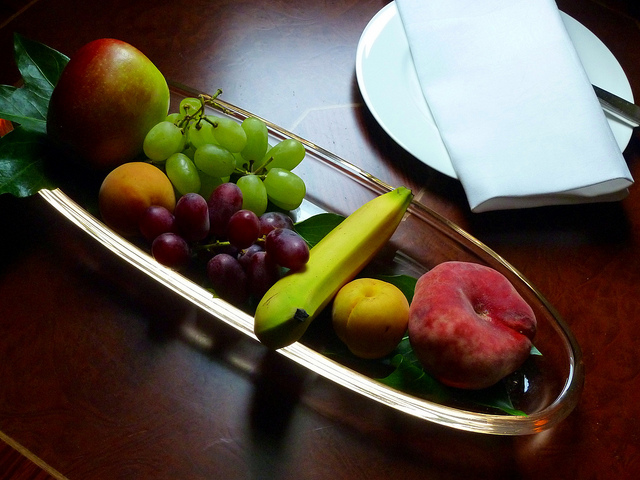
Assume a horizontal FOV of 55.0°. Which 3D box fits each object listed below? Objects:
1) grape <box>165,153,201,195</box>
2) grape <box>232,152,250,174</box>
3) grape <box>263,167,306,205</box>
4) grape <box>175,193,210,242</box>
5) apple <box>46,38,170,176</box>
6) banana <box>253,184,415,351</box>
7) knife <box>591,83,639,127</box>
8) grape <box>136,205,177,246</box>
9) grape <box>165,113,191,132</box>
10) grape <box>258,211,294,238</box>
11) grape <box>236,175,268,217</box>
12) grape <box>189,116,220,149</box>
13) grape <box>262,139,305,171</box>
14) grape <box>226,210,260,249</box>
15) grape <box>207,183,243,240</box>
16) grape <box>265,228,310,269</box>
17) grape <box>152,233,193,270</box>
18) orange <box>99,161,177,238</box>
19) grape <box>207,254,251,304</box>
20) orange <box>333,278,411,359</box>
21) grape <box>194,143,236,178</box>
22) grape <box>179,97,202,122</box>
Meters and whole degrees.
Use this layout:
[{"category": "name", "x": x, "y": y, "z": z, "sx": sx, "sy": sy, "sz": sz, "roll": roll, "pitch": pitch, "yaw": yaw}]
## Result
[{"category": "grape", "x": -0.180, "y": -0.085, "z": 0.802, "sx": 0.029, "sy": 0.032, "sz": 0.059, "roll": -27, "pitch": 102, "yaw": -32}, {"category": "grape", "x": -0.109, "y": -0.104, "z": 0.843, "sx": 0.021, "sy": 0.024, "sz": 0.016, "roll": -56, "pitch": 30, "yaw": 18}, {"category": "grape", "x": -0.047, "y": -0.073, "z": 0.831, "sx": 0.041, "sy": 0.046, "sz": 0.049, "roll": -26, "pitch": 42, "yaw": -35}, {"category": "grape", "x": -0.155, "y": -0.027, "z": 0.758, "sx": 0.034, "sy": 0.058, "sz": 0.040, "roll": -7, "pitch": 26, "yaw": -3}, {"category": "apple", "x": -0.299, "y": -0.184, "z": 0.890, "sx": 0.162, "sy": 0.167, "sz": 0.153, "roll": 30, "pitch": 46, "yaw": 31}, {"category": "banana", "x": 0.017, "y": 0.021, "z": 0.755, "sx": 0.061, "sy": 0.080, "sz": 0.275, "roll": 34, "pitch": 75, "yaw": 20}, {"category": "knife", "x": 0.447, "y": -0.202, "z": 0.937, "sx": 0.027, "sy": 0.015, "sz": 0.100, "roll": -44, "pitch": 64, "yaw": -7}, {"category": "grape", "x": -0.205, "y": -0.020, "z": 0.763, "sx": 0.039, "sy": 0.046, "sz": 0.044, "roll": 24, "pitch": 38, "yaw": 30}, {"category": "grape", "x": -0.198, "y": -0.166, "z": 0.859, "sx": 0.031, "sy": 0.026, "sz": 0.020, "roll": 27, "pitch": 94, "yaw": -15}, {"category": "grape", "x": -0.058, "y": -0.018, "z": 0.792, "sx": 0.037, "sy": 0.029, "sz": 0.034, "roll": -1, "pitch": 91, "yaw": 40}, {"category": "grape", "x": -0.088, "y": -0.056, "z": 0.818, "sx": 0.034, "sy": 0.054, "sz": 0.039, "roll": -13, "pitch": 18, "yaw": 3}, {"category": "grape", "x": -0.165, "y": -0.146, "z": 0.836, "sx": 0.025, "sy": 0.037, "sz": 0.032, "roll": 7, "pitch": 85, "yaw": -9}, {"category": "grape", "x": -0.049, "y": -0.120, "z": 0.874, "sx": 0.037, "sy": 0.075, "sz": 0.046, "roll": 2, "pitch": 90, "yaw": -36}, {"category": "grape", "x": -0.097, "y": -0.021, "z": 0.773, "sx": 0.037, "sy": 0.055, "sz": 0.039, "roll": -10, "pitch": 22, "yaw": -39}, {"category": "grape", "x": -0.122, "y": -0.039, "z": 0.770, "sx": 0.045, "sy": 0.064, "sz": 0.060, "roll": 2, "pitch": 37, "yaw": 4}, {"category": "grape", "x": -0.038, "y": 0.012, "z": 0.725, "sx": 0.050, "sy": 0.037, "sz": 0.032, "roll": 36, "pitch": 104, "yaw": 25}, {"category": "grape", "x": -0.188, "y": 0.015, "z": 0.768, "sx": 0.053, "sy": 0.045, "sz": 0.052, "roll": 9, "pitch": 105, "yaw": 5}, {"category": "orange", "x": -0.226, "y": -0.054, "z": 0.813, "sx": 0.063, "sy": 0.072, "sz": 0.082, "roll": 3, "pitch": 78, "yaw": -33}, {"category": "grape", "x": -0.111, "y": 0.048, "z": 0.751, "sx": 0.044, "sy": 0.038, "sz": 0.056, "roll": -31, "pitch": 66, "yaw": -8}, {"category": "orange", "x": 0.061, "y": 0.107, "z": 0.769, "sx": 0.088, "sy": 0.098, "sz": 0.106, "roll": 4, "pitch": 97, "yaw": 2}, {"category": "grape", "x": -0.142, "y": -0.106, "z": 0.823, "sx": 0.053, "sy": 0.042, "sz": 0.048, "roll": 0, "pitch": 90, "yaw": 30}, {"category": "grape", "x": -0.181, "y": -0.183, "z": 0.852, "sx": 0.032, "sy": 0.020, "sz": 0.039, "roll": -5, "pitch": 64, "yaw": -11}]
